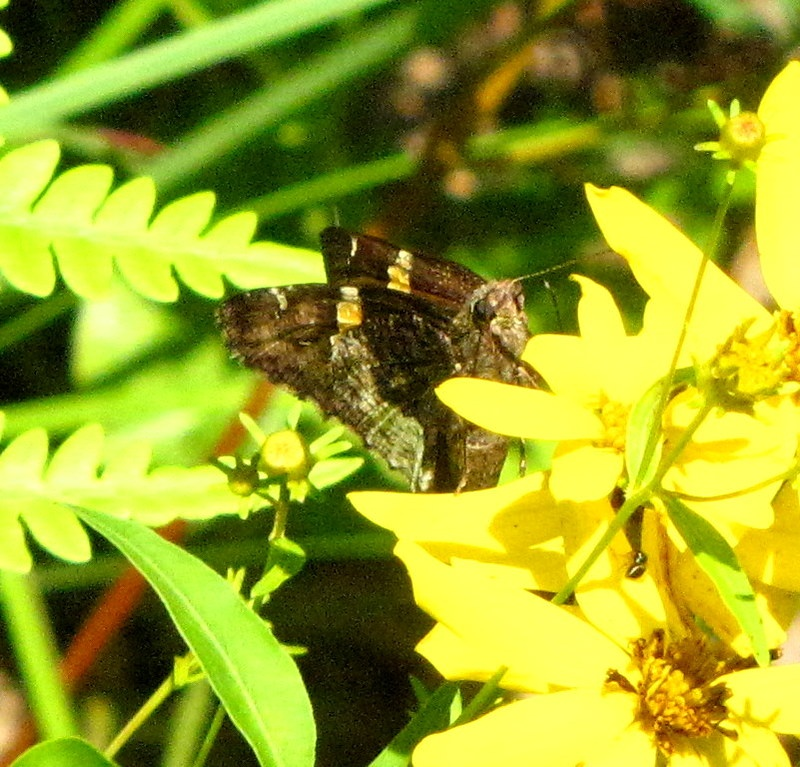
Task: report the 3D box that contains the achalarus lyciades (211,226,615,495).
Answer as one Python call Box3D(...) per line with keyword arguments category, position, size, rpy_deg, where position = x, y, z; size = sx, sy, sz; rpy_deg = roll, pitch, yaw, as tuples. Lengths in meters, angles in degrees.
Box3D(category="achalarus lyciades", position=(-0.014, -0.064, 1.304), size=(0.271, 0.200, 0.370), rpy_deg=(-34, -27, -15))

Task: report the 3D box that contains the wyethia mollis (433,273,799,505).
Box3D(category="wyethia mollis", position=(0.155, -0.021, 1.044), size=(0.271, 0.189, 0.170), rpy_deg=(2, 9, 10))

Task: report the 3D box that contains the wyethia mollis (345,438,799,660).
Box3D(category="wyethia mollis", position=(0.164, 0.148, 1.035), size=(0.080, 0.280, 0.176), rpy_deg=(133, 157, -69))
